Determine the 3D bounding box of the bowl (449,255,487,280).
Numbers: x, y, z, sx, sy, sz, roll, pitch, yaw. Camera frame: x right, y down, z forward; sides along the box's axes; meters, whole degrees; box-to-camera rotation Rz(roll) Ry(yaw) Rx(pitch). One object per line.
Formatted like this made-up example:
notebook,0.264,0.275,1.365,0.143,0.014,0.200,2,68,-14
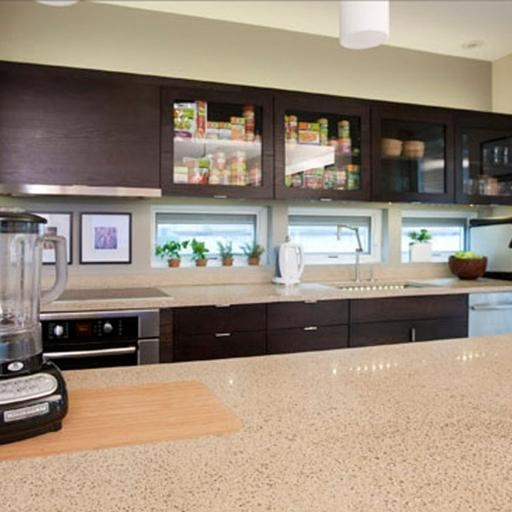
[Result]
bowl,1.447,0.083,3.465,0.198,0.106,0.189,0,-4,0

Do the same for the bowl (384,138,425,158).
bowl,0.905,-0.647,3.097,0.190,0.060,0.142,1,1,-23

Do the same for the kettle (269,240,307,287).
kettle,0.194,0.035,3.047,0.225,0.262,0.180,0,0,-26
